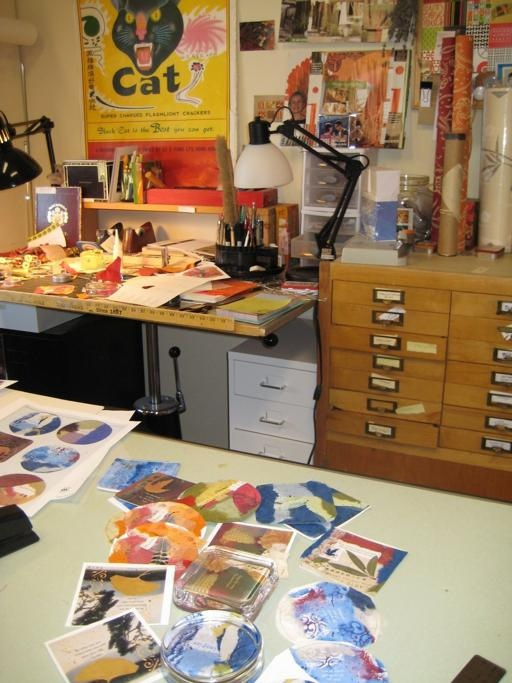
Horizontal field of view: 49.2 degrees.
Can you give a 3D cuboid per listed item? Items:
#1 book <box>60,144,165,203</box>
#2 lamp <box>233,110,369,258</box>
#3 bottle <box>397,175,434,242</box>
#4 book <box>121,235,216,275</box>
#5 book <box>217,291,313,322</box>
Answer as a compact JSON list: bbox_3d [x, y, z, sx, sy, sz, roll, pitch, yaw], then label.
[{"bbox_3d":[-0.670,-0.807,2.707,0.420,0.261,0.265,12,26,24],"label":"book"},{"bbox_3d":[0.206,-0.550,2.008,0.403,0.467,0.577,6,18,26],"label":"lamp"},{"bbox_3d":[0.624,-0.525,2.196,0.126,0.241,0.115,-2,17,1],"label":"bottle"},{"bbox_3d":[-0.338,-0.334,2.223,0.253,0.058,0.232,4,16,18],"label":"book"},{"bbox_3d":[0.021,-0.112,1.698,0.125,0.027,0.192,11,24,31],"label":"book"}]
